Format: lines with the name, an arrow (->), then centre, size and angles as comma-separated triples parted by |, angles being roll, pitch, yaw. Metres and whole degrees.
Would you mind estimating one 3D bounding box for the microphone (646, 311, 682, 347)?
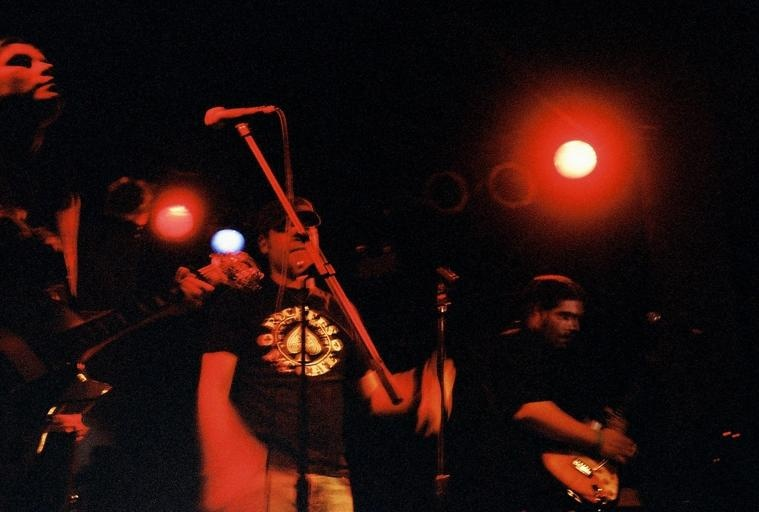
microphone -> 1.755, 0.459, 4.414 | 0.222, 0.201, 0.055 | -28, -5, -19
